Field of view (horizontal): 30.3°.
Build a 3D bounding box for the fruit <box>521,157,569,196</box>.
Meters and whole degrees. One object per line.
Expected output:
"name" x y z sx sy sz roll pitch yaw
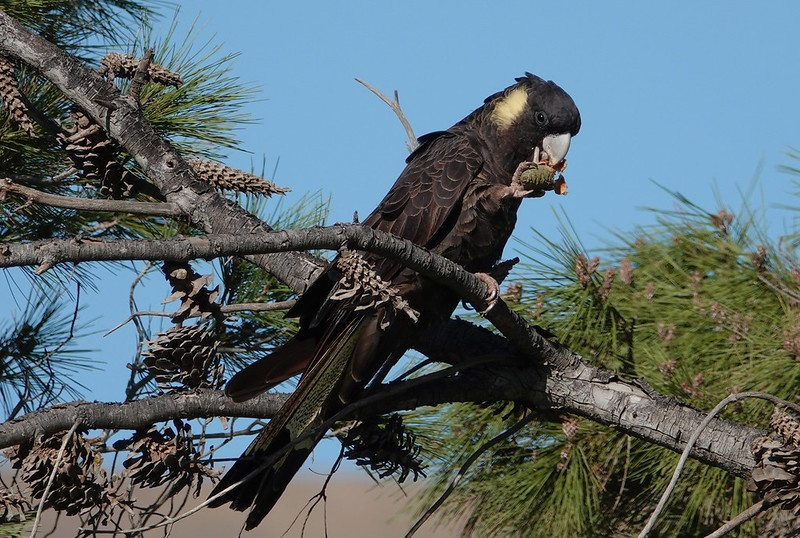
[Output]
"fruit" 0.643 -0.400 6.679 0.221 0.113 0.117 11 5 -11
